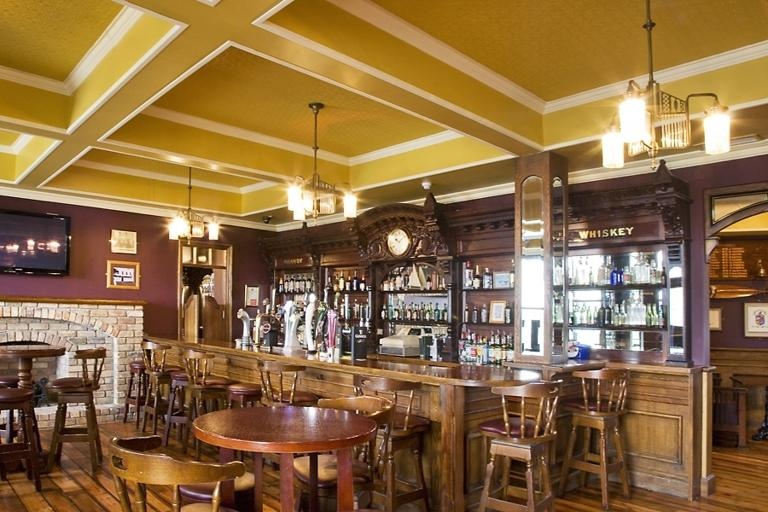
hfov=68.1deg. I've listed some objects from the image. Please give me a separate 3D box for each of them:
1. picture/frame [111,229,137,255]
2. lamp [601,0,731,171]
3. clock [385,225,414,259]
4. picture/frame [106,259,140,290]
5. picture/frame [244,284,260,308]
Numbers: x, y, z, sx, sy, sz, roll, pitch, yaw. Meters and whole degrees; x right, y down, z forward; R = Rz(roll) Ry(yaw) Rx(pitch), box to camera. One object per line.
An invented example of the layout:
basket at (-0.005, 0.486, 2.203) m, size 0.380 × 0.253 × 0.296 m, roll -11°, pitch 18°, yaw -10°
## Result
picture/frame at (-4.640, -0.245, 10.113) m, size 0.035 × 0.384 × 0.509 m, roll -2°, pitch -1°, yaw 36°
lamp at (2.541, -1.620, 5.434) m, size 0.971 × 1.639 × 1.478 m, roll -2°, pitch -8°, yaw 11°
clock at (0.277, -0.223, 9.471) m, size 0.471 × 0.430 × 0.102 m, roll -9°, pitch -4°, yaw 44°
picture/frame at (-4.645, 0.333, 10.081) m, size 0.583 × 0.533 × 0.105 m, roll 4°, pitch -5°, yaw -42°
picture/frame at (-2.703, 0.828, 11.651) m, size 0.515 × 0.600 × 0.073 m, roll 5°, pitch -7°, yaw -43°
